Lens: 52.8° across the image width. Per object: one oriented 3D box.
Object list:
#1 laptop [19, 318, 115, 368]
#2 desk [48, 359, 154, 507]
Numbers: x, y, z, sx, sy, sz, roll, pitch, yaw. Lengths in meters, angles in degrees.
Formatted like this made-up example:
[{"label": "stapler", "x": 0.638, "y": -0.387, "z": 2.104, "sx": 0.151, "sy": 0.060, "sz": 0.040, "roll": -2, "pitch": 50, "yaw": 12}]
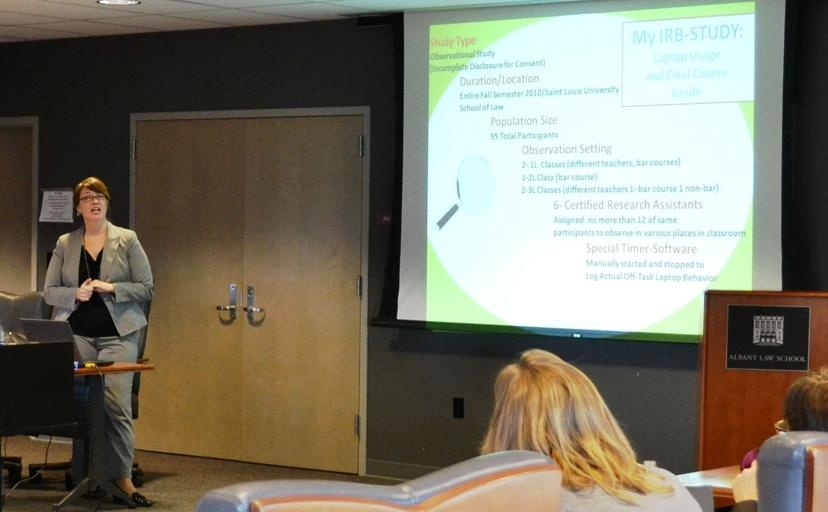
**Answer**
[{"label": "laptop", "x": -2.598, "y": 0.660, "z": 6.081, "sx": 0.437, "sy": 0.279, "sz": 0.406, "roll": -3, "pitch": -8, "yaw": 33}, {"label": "desk", "x": -2.410, "y": 1.358, "z": 6.337, "sx": 1.065, "sy": 1.073, "sz": 0.774, "roll": -1, "pitch": -7, "yaw": 2}]
